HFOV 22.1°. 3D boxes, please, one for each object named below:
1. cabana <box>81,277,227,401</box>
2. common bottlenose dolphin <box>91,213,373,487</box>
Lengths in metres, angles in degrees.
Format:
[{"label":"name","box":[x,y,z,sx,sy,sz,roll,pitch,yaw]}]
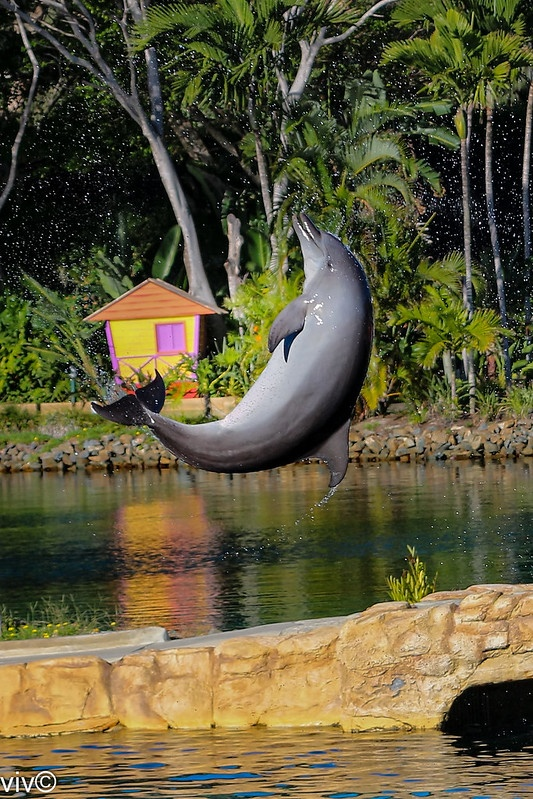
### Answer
[{"label":"cabana","box":[-2.668,-1.336,29.984,3.135,2.213,1.925,-5,-7,-21]},{"label":"common bottlenose dolphin","box":[-0.111,-0.066,7.249,1.734,1.203,0.783,-22,-13,26]}]
